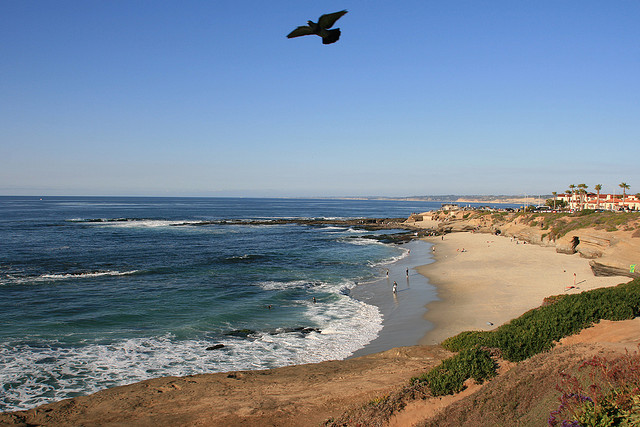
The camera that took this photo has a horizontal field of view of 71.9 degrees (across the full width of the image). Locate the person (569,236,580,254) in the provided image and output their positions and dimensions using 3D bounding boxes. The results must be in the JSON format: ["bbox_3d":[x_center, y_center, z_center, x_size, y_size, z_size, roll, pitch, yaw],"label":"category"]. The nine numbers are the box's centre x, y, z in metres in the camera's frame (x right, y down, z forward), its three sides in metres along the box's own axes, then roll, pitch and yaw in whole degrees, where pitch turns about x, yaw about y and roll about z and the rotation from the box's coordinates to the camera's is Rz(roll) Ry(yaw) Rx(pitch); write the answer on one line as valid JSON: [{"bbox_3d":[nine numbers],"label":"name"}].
[{"bbox_3d":[30.186,3.696,51.945,1.010,2.000,1.177,-1,3,3],"label":"person"}]

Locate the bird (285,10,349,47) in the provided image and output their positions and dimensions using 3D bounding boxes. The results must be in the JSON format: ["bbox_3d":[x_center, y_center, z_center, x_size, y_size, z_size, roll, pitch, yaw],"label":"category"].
[{"bbox_3d":[-0.030,-7.745,18.653,2.098,1.166,0.622,1,3,29],"label":"bird"}]
